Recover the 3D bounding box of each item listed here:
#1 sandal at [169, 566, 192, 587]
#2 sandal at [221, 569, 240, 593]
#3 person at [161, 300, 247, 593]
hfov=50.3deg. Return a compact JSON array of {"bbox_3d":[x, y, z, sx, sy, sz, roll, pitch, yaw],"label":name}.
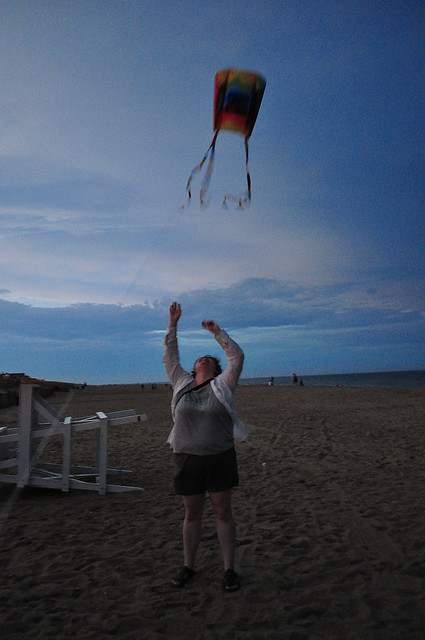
[{"bbox_3d":[-0.223,1.774,3.170,0.155,0.127,0.106,3,-5,-43],"label":"sandal"},{"bbox_3d":[0.119,1.733,3.004,0.083,0.071,0.164,0,-42,2],"label":"sandal"},{"bbox_3d":[-0.057,0.838,3.110,0.641,1.959,0.440,-2,-4,25],"label":"person"}]
